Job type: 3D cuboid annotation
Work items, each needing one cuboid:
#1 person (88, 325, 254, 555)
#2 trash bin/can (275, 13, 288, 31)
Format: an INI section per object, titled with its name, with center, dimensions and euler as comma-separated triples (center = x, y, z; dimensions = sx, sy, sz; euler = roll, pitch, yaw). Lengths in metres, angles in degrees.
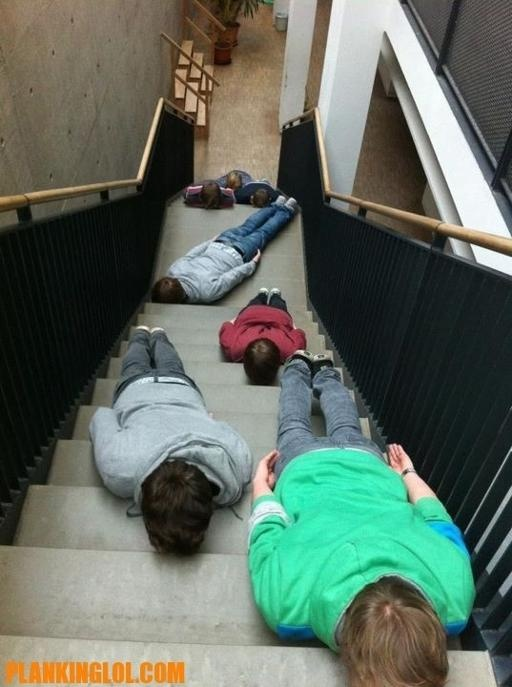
[person]
center = -0.314, 0.289, 1.671
dimensions = 0.288, 0.236, 0.944
euler = -2, 33, -10
[trash bin/can]
center = 0.535, -6.774, 10.344
dimensions = 0.223, 0.431, 0.435
euler = 6, 48, 6
